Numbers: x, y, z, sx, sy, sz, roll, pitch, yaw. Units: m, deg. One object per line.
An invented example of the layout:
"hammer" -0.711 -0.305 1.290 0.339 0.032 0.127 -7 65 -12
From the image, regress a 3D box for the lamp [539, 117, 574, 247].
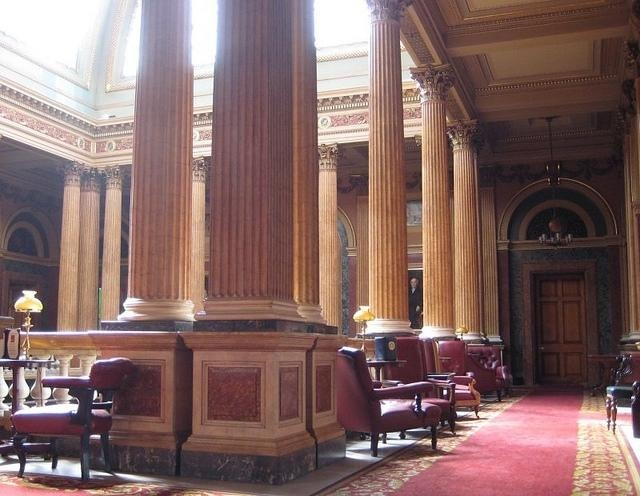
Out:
"lamp" 6.102 -1.558 16.624 0.689 3.251 1.917 -7 -11 22

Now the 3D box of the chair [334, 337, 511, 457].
"chair" 0.811 1.621 6.963 1.469 1.252 1.089 1 -4 -27

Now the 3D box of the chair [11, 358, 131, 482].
"chair" -2.101 1.445 5.450 0.915 0.980 0.795 2 -10 -8
